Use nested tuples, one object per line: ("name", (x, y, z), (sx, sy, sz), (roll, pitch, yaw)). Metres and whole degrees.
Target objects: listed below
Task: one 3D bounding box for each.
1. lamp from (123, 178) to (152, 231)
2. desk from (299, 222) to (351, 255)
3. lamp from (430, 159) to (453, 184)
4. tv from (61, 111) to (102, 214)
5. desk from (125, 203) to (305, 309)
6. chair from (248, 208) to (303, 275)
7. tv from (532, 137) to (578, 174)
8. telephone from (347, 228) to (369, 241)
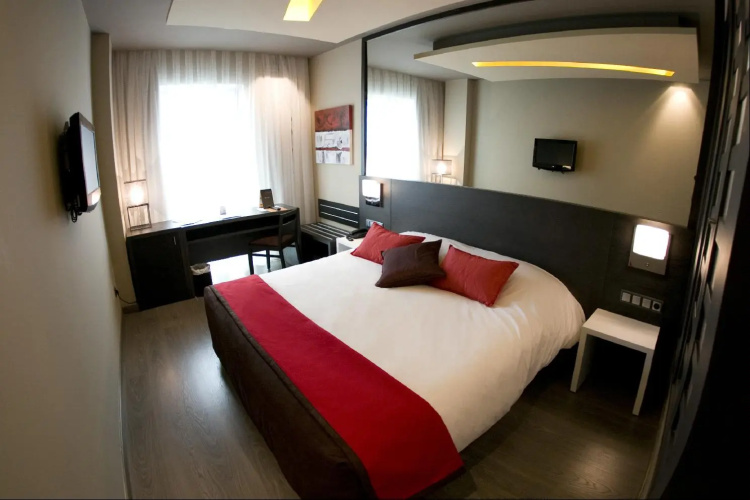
("lamp", (-2.559, -0.496, 5.317), (0.269, 0.502, 0.563), (-6, 17, -24))
("desk", (-0.599, -0.231, 6.280), (0.435, 0.261, 0.573), (-22, 34, -36))
("lamp", (0.651, -0.772, 4.821), (0.067, 0.203, 0.202), (-17, 26, -39))
("tv", (-1.891, -0.536, 3.177), (0.130, 0.664, 0.677), (-5, 17, -22))
("desk", (-1.856, 0.016, 5.747), (1.797, 0.856, 0.604), (-15, 21, -39))
("chair", (-1.269, -0.011, 5.859), (0.471, 0.779, 0.444), (0, 6, -3))
("tv", (1.493, -0.783, 4.083), (0.271, 0.216, 0.039), (25, 31, 37))
("telephone", (-0.208, -0.178, 5.660), (0.115, 0.054, 0.210), (10, 15, 39))
